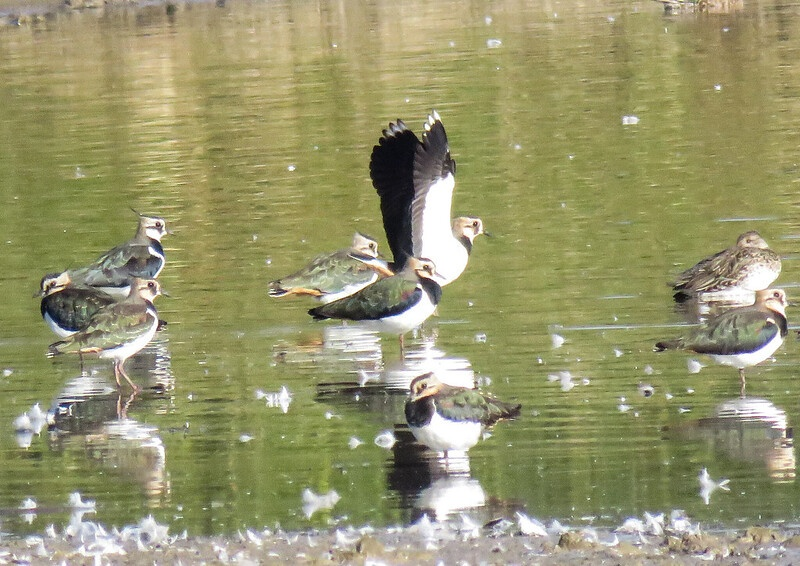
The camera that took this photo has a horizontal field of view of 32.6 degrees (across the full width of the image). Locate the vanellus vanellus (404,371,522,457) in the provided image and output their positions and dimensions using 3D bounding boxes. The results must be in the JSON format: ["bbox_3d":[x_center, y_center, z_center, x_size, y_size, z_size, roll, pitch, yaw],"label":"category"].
[{"bbox_3d":[0.715,1.443,15.268,1.443,0.893,0.772,-1,1,-25],"label":"vanellus vanellus"}]
